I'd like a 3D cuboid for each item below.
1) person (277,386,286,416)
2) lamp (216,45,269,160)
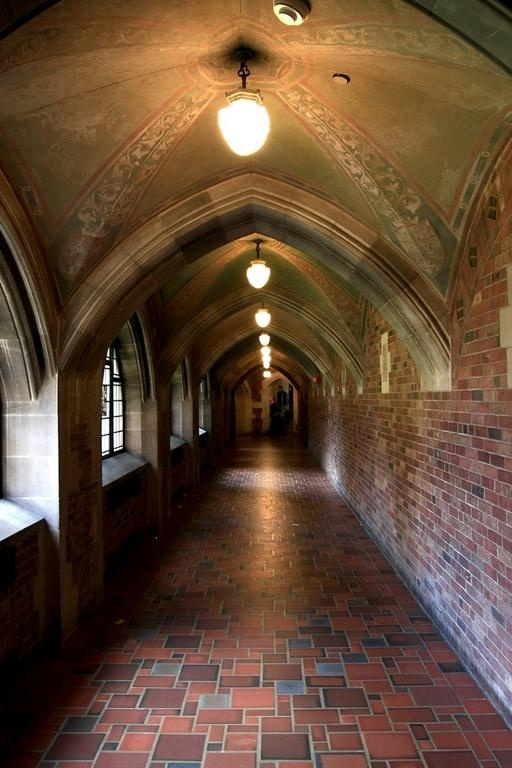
[{"bbox_3d":[1.550,1.023,30.777,0.534,1.930,0.934,-2,-3,25],"label":"person"},{"bbox_3d":[-0.070,-1.381,2.376,0.221,0.616,0.601,0,-3,-3],"label":"lamp"}]
